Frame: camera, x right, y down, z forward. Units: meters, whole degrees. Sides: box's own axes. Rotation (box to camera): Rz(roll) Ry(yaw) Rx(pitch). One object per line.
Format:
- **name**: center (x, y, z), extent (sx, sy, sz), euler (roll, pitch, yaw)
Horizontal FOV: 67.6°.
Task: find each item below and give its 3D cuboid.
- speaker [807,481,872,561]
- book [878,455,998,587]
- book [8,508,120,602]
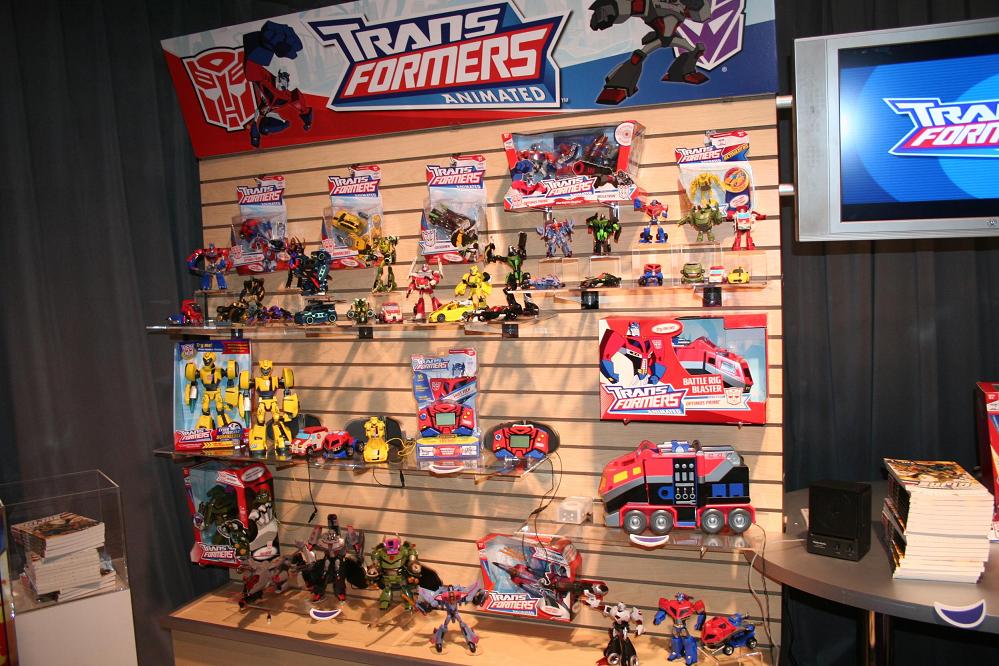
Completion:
- **speaker**: center (1.715, 0.956, 3.765), extent (0.346, 0.431, 0.235), euler (4, 7, 33)
- **book**: center (2.166, 0.935, 3.704), extent (0.458, 0.511, 0.428), euler (0, 3, 26)
- **book**: center (-2.307, 1.208, 3.996), extent (0.496, 0.380, 0.164), euler (-6, 2, -28)
